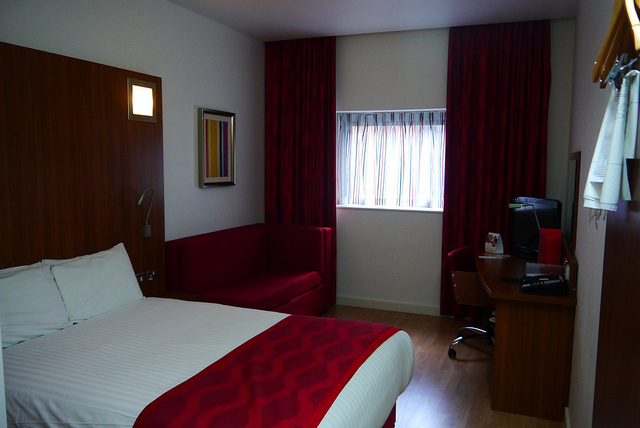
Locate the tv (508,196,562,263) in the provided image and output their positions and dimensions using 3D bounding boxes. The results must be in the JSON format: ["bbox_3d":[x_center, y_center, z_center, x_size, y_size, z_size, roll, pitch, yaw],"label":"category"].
[{"bbox_3d":[2.167,0.163,4.409,0.229,0.564,0.629,1,1,-1],"label":"tv"}]

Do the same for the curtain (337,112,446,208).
[{"bbox_3d":[0.940,-0.674,5.700,1.428,1.201,0.182,7,9,13],"label":"curtain"}]

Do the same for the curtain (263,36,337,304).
[{"bbox_3d":[-0.219,-0.561,6.120,0.452,3.490,1.116,3,8,17],"label":"curtain"}]

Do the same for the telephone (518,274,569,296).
[{"bbox_3d":[1.822,0.582,3.584,0.258,0.104,0.194,3,6,24],"label":"telephone"}]

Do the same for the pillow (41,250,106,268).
[{"bbox_3d":[-2.087,0.368,3.673,0.162,0.050,0.447,11,17,30],"label":"pillow"}]

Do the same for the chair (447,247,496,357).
[{"bbox_3d":[1.743,0.914,4.649,0.666,1.119,0.793,-4,-2,31],"label":"chair"}]

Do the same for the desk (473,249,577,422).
[{"bbox_3d":[1.793,0.706,4.076,0.753,1.176,2.297,2,7,17],"label":"desk"}]
